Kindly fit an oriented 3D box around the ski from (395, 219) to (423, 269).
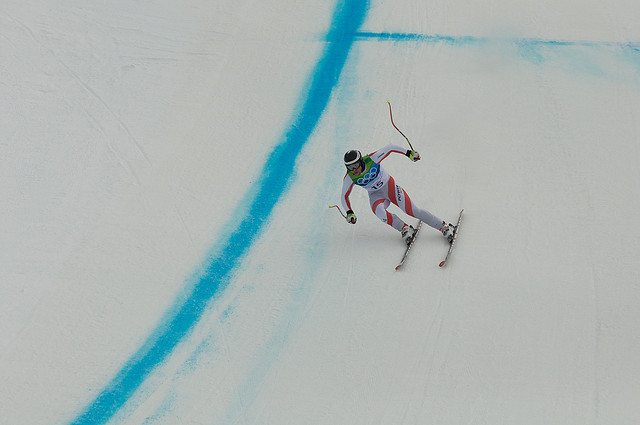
[{"bbox_3d":[1.943,0.734,20.106,0.117,1.162,0.101,27,-5,16],"label":"ski"}]
